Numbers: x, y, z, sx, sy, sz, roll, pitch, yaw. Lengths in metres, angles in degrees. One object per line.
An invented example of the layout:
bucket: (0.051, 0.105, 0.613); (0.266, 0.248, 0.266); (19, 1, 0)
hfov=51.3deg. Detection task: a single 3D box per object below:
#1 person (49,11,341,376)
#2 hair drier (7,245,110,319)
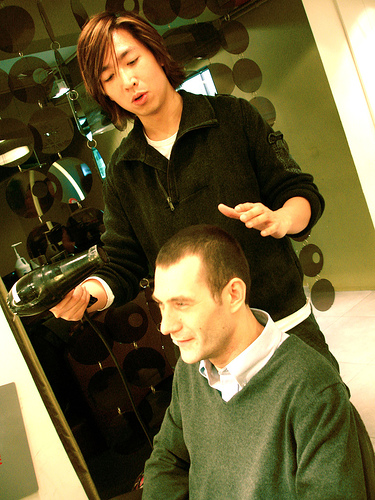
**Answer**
person: (-0.021, 0.031, 1.146); (0.553, 1.089, 0.617); (7, 21, -9)
hair drier: (-0.238, 0.056, 0.711); (0.197, 0.075, 0.107); (-33, 3, -12)
